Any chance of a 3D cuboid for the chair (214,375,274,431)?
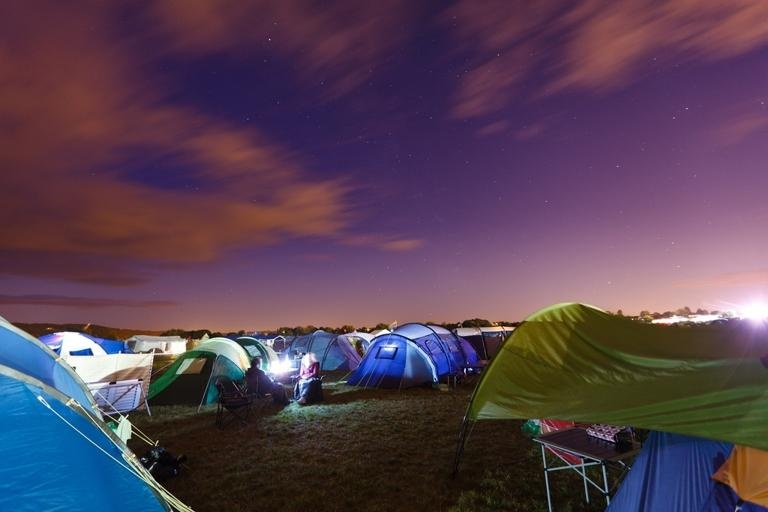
[{"bbox_3d":[-3.918,3.924,13.145,1.244,1.620,1.087,-4,-9,28],"label":"chair"}]
